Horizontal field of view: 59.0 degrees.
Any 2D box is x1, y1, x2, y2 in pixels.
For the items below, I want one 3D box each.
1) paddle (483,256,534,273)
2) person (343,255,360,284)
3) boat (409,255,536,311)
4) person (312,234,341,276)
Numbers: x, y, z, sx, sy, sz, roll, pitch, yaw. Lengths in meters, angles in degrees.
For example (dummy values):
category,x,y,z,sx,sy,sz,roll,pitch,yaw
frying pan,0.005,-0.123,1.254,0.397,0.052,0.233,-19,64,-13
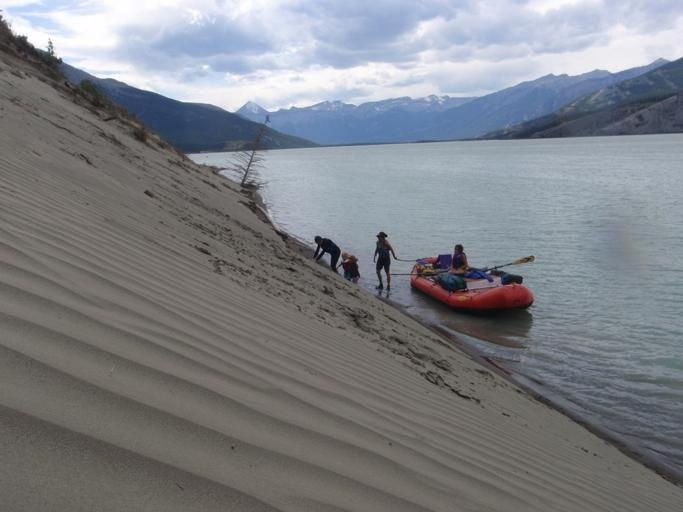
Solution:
category,x,y,z,sx,sy,sz,roll,pitch,yaw
paddle,5.073,0.267,18.227,2.978,0.332,0.152,-8,16,-34
person,0.213,0.344,15.500,0.387,0.811,0.549,-2,15,-1
boat,3.074,0.728,14.987,1.727,0.648,2.395,-4,8,-22
person,-0.407,-0.014,15.705,0.991,1.292,0.363,-10,58,6
